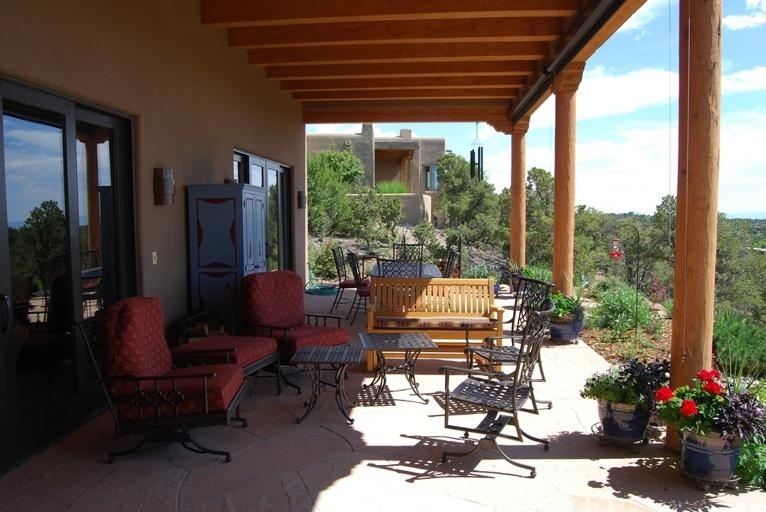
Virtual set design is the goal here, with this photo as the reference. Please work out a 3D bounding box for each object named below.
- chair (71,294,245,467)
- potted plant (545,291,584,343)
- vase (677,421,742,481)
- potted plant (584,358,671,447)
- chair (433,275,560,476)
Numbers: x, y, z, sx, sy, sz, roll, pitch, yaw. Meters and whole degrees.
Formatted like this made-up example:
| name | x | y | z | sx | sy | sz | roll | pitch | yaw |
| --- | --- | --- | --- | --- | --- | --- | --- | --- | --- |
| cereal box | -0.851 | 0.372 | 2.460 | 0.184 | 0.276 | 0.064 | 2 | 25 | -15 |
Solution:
| name | x | y | z | sx | sy | sz | roll | pitch | yaw |
| --- | --- | --- | --- | --- | --- | --- | --- | --- | --- |
| chair | -2.042 | 1.176 | 5.747 | 1.532 | 1.868 | 1.318 | 2 | -2 | -3 |
| potted plant | 2.775 | 0.940 | 8.286 | 0.536 | 0.692 | 0.524 | -2 | -1 | 4 |
| vase | 2.792 | 1.648 | 4.648 | 0.398 | 0.332 | 0.419 | 1 | -7 | 7 |
| potted plant | 2.158 | 1.417 | 5.242 | 0.666 | 0.732 | 0.465 | 10 | -5 | 9 |
| chair | 1.125 | 1.174 | 5.887 | 1.345 | 2.244 | 1.322 | 2 | 1 | 15 |
